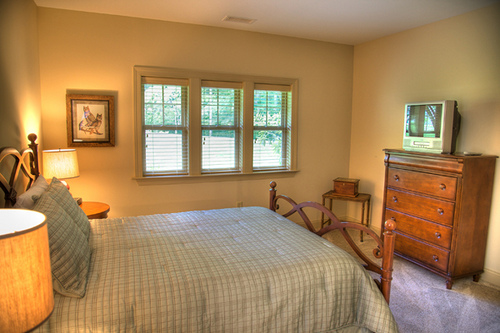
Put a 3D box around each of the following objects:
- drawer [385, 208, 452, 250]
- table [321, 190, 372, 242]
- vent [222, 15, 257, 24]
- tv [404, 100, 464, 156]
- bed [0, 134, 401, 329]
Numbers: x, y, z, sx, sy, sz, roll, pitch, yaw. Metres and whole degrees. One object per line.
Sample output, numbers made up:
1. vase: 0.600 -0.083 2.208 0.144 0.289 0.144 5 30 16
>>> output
1. drawer: 2.753 0.869 5.241 0.791 0.297 1.298 -4 6 -20
2. table: 1.755 0.902 6.466 0.760 0.745 0.577 3 3 28
3. vent: -0.161 -2.299 5.446 0.491 0.036 0.217 -3 9 -20
4. tv: 2.581 -0.566 5.372 0.710 0.698 0.500 3 2 1
5. bed: -0.359 0.891 3.614 3.279 1.323 1.330 -1 9 -10
